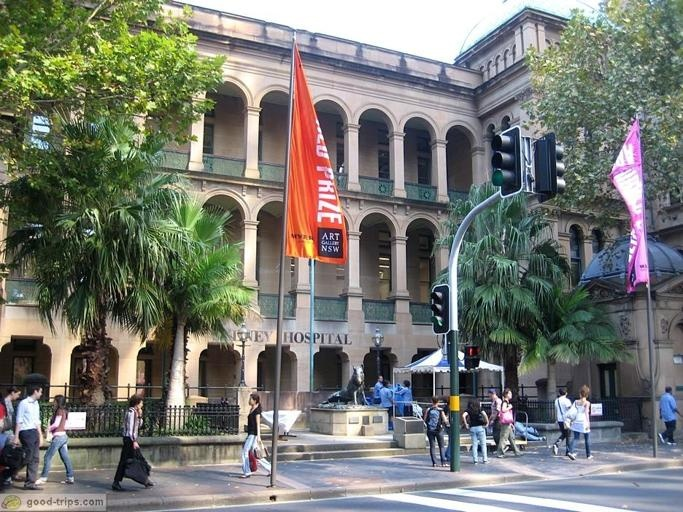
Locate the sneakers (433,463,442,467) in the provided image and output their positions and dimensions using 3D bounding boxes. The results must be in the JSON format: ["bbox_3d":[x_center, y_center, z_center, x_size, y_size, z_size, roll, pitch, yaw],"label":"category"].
[{"bbox_3d":[2.814,6.102,21.507,0.271,0.121,0.094,5,-9,-30],"label":"sneakers"}]

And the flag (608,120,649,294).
[{"bbox_3d":[9.752,-1.853,24.891,0.950,5.592,1.590,-6,-13,25],"label":"flag"}]

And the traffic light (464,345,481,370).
[{"bbox_3d":[3.586,2.783,20.289,0.415,0.629,0.644,-3,-13,9],"label":"traffic light"}]

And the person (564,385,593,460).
[{"bbox_3d":[7.540,5.310,23.474,0.773,2.233,1.449,-4,-13,17],"label":"person"}]

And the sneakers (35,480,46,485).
[{"bbox_3d":[-7.386,5.517,18.015,0.269,0.129,0.103,6,-14,-18],"label":"sneakers"}]

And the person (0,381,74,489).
[{"bbox_3d":[-7.362,4.389,18.070,0.823,2.455,1.537,-6,-13,23],"label":"person"}]

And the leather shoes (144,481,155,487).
[{"bbox_3d":[-4.731,5.586,18.071,0.267,0.127,0.095,-4,4,-32],"label":"leather shoes"}]

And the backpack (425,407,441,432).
[{"bbox_3d":[2.697,4.738,21.433,0.515,0.701,0.305,-7,-14,26],"label":"backpack"}]

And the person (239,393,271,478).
[{"bbox_3d":[-2.315,4.781,19.782,0.714,2.212,1.224,1,-12,-9],"label":"person"}]

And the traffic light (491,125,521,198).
[{"bbox_3d":[3.902,-2.265,17.365,0.721,1.630,0.525,-4,-12,14],"label":"traffic light"}]

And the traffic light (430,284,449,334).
[{"bbox_3d":[2.729,1.424,20.278,0.493,1.339,0.387,-2,-12,8],"label":"traffic light"}]

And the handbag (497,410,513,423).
[{"bbox_3d":[5.191,5.083,23.410,0.327,0.418,0.225,20,-14,-32],"label":"handbag"}]

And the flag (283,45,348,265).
[{"bbox_3d":[-0.869,-2.749,20.390,2.056,5.712,0.648,9,-15,-40],"label":"flag"}]

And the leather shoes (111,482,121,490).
[{"bbox_3d":[-5.468,5.567,17.838,0.261,0.168,0.191,-1,-13,-1],"label":"leather shoes"}]

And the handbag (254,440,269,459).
[{"bbox_3d":[-2.131,5.155,19.627,0.359,0.433,0.274,8,-15,-36],"label":"handbag"}]

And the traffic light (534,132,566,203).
[{"bbox_3d":[4.692,-2.005,16.666,0.652,1.709,0.551,-4,-12,17],"label":"traffic light"}]

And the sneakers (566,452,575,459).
[{"bbox_3d":[7.173,6.212,22.924,0.211,0.233,0.541,-3,-13,10],"label":"sneakers"}]
